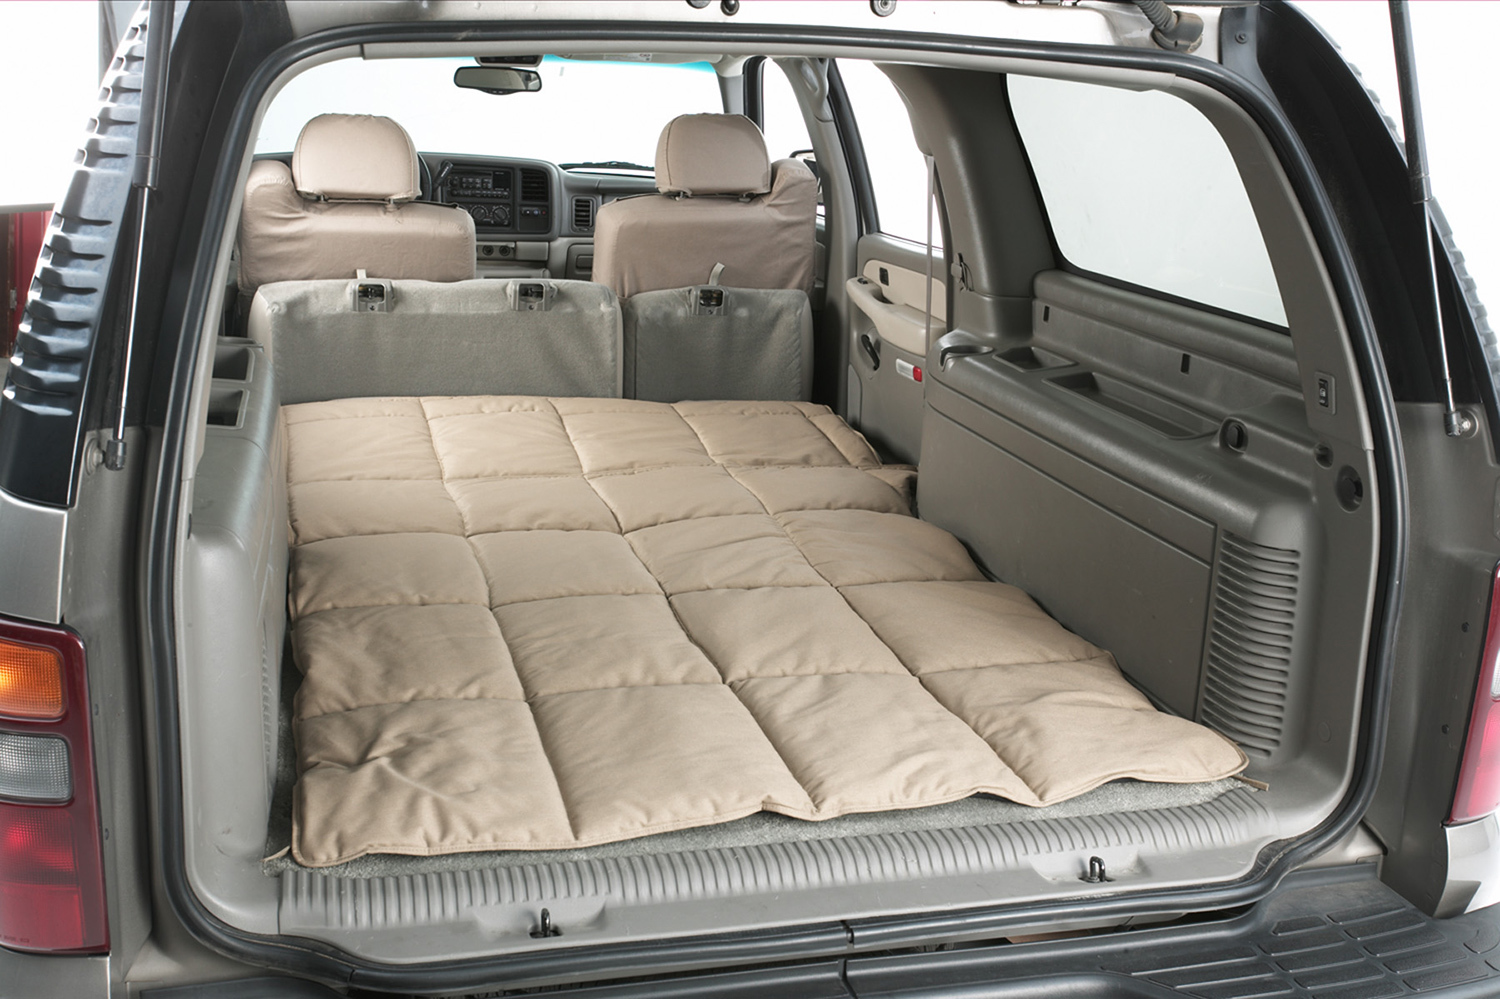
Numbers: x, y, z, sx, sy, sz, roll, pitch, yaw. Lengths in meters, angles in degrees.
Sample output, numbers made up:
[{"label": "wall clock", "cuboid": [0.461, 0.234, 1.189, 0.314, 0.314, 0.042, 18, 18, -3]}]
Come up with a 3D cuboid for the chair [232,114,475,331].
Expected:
[{"label": "chair", "cuboid": [-1.480, -1.085, 4.693, 0.890, 0.698, 0.805, 1, 8, -14]}]
